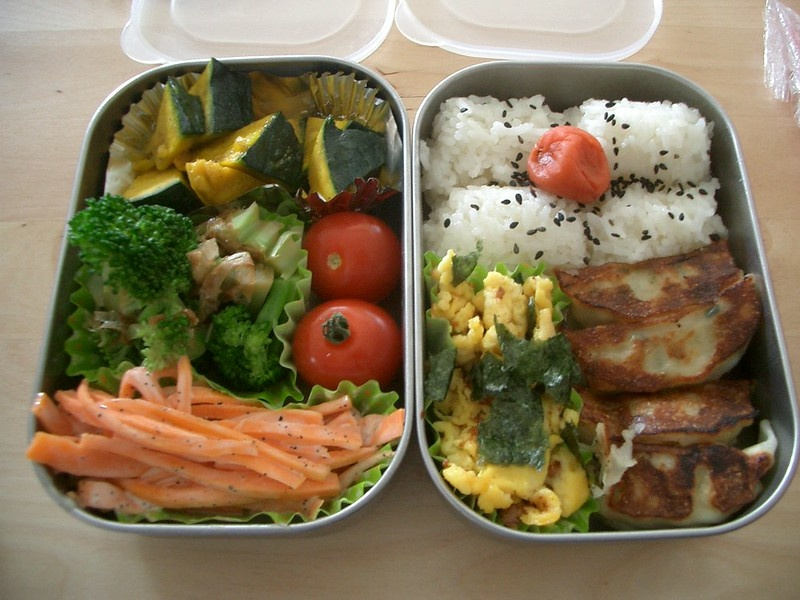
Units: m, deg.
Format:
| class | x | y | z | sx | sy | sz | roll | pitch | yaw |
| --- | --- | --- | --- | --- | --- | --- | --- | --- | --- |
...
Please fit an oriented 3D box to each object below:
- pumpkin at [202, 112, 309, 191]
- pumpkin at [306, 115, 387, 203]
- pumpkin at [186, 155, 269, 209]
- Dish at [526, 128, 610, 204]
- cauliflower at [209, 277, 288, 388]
| class | x | y | z | sx | sy | sz | roll | pitch | yaw |
| --- | --- | --- | --- | --- | --- | --- | --- | --- | --- |
| pumpkin | -0.510 | -0.506 | 2.625 | 0.276 | 0.112 | 0.279 | -29 | 54 | -9 |
| pumpkin | -0.216 | -0.497 | 2.645 | 0.290 | 0.113 | 0.300 | -26 | 89 | -28 |
| pumpkin | -0.638 | -0.407 | 2.585 | 0.191 | 0.193 | 0.085 | -5 | 33 | -12 |
| Dish | 0.613 | -0.478 | 2.646 | 0.134 | 0.263 | 0.265 | -42 | 42 | -21 |
| cauliflower | -0.486 | 0.121 | 2.577 | 0.254 | 0.194 | 0.351 | 30 | 80 | 7 |
